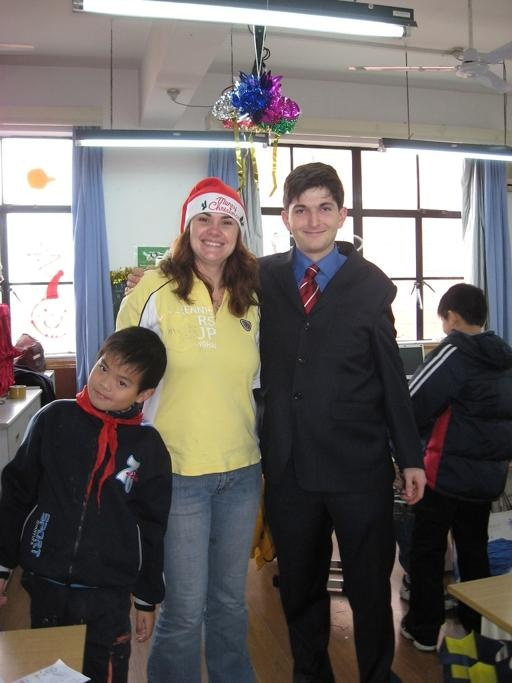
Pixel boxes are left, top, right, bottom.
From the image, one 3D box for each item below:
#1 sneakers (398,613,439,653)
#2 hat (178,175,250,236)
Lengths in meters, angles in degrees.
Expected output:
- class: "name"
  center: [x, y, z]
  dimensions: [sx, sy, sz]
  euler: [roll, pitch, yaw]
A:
- class: "sneakers"
  center: [0.618, 1.140, 2.206]
  dimensions: [0.052, 0.062, 0.145]
  euler: [2, -5, -16]
- class: "hat"
  center: [-0.132, -0.391, 1.716]
  dimensions: [0.198, 0.185, 0.154]
  euler: [-1, -3, -8]
